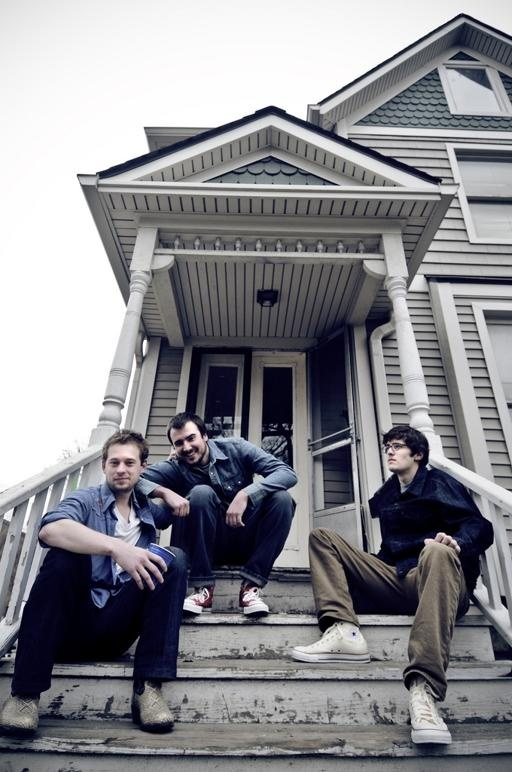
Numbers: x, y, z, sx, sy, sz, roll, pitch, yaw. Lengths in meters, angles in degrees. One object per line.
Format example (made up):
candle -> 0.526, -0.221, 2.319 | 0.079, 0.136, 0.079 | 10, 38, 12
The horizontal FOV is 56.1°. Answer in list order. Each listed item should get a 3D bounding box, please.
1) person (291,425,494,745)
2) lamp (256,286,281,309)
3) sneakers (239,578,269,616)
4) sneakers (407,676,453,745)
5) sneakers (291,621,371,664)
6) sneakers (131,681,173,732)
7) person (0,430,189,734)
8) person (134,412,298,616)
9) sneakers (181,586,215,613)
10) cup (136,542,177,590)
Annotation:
person -> 0.570, 0.743, 2.004 | 0.720, 1.248, 0.830 | 13, -33, -3
lamp -> 0.108, -0.802, 4.590 | 0.223, 0.082, 0.332 | 3, -24, 2
sneakers -> -0.012, 0.945, 2.108 | 0.119, 0.145, 0.228 | 4, -24, -1
sneakers -> 0.446, 0.874, 1.271 | 0.069, 0.106, 0.233 | -3, -23, 2
sneakers -> 0.276, 1.007, 1.873 | 0.298, 0.197, 0.130 | 2, -36, 5
sneakers -> -0.303, 0.921, 1.380 | 0.072, 0.111, 0.185 | 2, -19, -20
person -> -0.487, 0.583, 1.704 | 0.482, 0.999, 0.675 | 7, -22, -8
person -> -0.203, 0.669, 2.509 | 0.739, 1.076, 0.626 | -13, -28, 5
sneakers -> -0.249, 0.921, 2.028 | 0.078, 0.097, 0.236 | 7, -25, 18
cup -> -0.327, 0.555, 1.557 | 0.111, 0.154, 0.066 | 16, 11, 19
